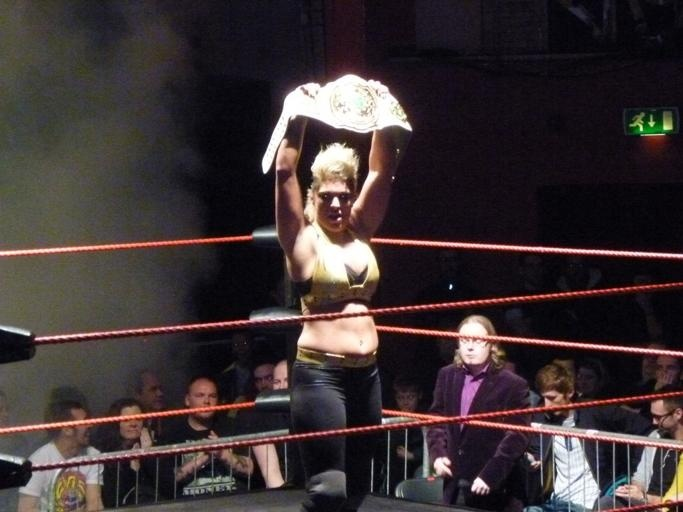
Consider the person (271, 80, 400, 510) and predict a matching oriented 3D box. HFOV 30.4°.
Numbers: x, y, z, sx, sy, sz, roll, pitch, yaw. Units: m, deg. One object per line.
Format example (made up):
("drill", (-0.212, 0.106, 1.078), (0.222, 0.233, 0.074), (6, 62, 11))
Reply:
("person", (-0.032, 0.265, 8.343), (0.963, 2.951, 0.491), (0, 1, -14))
